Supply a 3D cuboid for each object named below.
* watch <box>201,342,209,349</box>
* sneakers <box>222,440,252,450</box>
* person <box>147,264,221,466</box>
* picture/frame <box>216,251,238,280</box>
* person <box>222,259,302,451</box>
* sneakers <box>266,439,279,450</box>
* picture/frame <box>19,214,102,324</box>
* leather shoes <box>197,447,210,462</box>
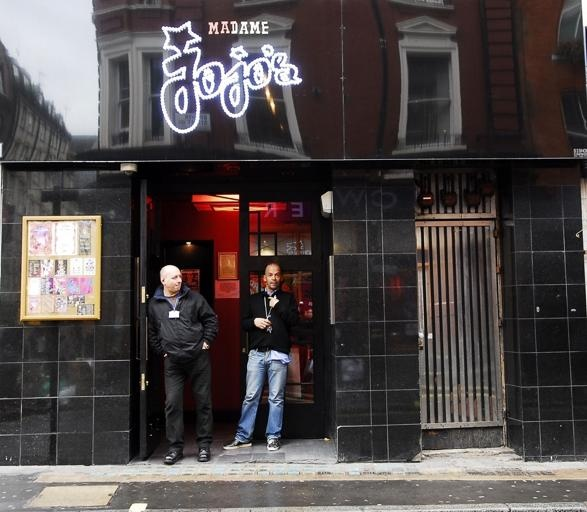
[{"bbox_3d":[-0.936,0.970,8.776,0.052,0.075,0.028,0,9,-2],"label":"watch"},{"bbox_3d":[-0.613,2.111,9.163,0.303,0.132,0.116,6,-9,-25],"label":"sneakers"},{"bbox_3d":[-1.159,1.150,8.742,0.729,2.065,0.458,-1,5,-12],"label":"person"},{"bbox_3d":[-0.867,0.143,10.828,0.335,0.504,0.050,0,-3,-4],"label":"picture/frame"},{"bbox_3d":[-0.296,1.125,9.138,0.697,2.030,0.512,0,5,7],"label":"person"},{"bbox_3d":[-0.214,2.079,9.090,0.148,0.130,0.293,0,6,-2],"label":"sneakers"},{"bbox_3d":[-2.467,0.182,8.670,1.006,1.516,0.071,0,-6,-2],"label":"picture/frame"},{"bbox_3d":[-0.939,2.116,8.753,0.133,0.129,0.224,-1,6,-5],"label":"leather shoes"}]
